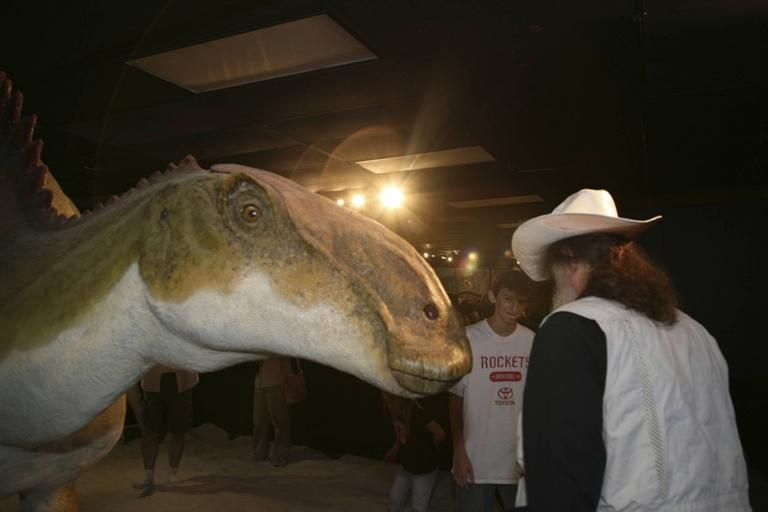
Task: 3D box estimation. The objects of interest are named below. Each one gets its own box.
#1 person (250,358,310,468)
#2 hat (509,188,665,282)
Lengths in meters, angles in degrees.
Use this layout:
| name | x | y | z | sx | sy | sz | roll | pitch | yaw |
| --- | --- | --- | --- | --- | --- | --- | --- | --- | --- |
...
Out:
| name | x | y | z | sx | sy | sz | roll | pitch | yaw |
| --- | --- | --- | --- | --- | --- | --- | --- | --- | --- |
| person | -1.232 | 1.745 | 7.372 | 0.495 | 1.327 | 0.986 | 3 | 5 | -18 |
| hat | 1.026 | -0.172 | 3.233 | 0.680 | 0.284 | 0.628 | -9 | -13 | 43 |
